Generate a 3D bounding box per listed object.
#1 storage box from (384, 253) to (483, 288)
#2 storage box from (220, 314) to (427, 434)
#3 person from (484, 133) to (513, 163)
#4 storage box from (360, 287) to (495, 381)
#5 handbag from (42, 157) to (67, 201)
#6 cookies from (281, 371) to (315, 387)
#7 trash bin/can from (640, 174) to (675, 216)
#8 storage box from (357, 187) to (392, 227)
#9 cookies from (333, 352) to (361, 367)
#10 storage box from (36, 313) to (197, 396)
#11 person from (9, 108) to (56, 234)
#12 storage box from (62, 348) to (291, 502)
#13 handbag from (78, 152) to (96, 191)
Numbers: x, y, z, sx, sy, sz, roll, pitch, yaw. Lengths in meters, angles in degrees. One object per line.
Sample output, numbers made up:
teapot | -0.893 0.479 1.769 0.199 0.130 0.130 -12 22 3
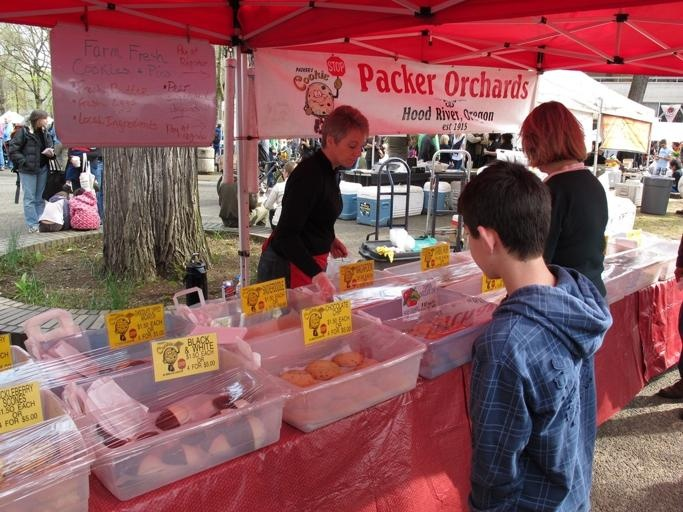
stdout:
storage box | 0.553 0.102 2.589 0.439 0.085 0.237 -11 12 -33
storage box | 0.032 0.434 1.603 0.437 0.146 0.379 -12 20 -32
person | 3.618 -2.577 10.222 0.562 0.723 2.796 0 9 18
storage box | 0.439 0.308 2.038 0.409 0.126 0.416 -12 16 -29
handbag | -4.650 -1.290 7.010 0.189 0.431 0.107 23 12 23
cookies | -0.155 0.432 1.555 0.066 0.037 0.053 11 4 19
trash bin/can | 8.126 -1.553 11.321 0.611 1.021 0.571 4 11 35
storage box | 0.586 -0.957 8.534 0.624 0.816 0.873 14 20 42
cookies | 0.026 0.399 1.716 0.062 0.031 0.060 -1 4 -38
storage box | -0.863 0.348 1.549 0.335 0.118 0.219 -8 16 -34
person | -4.889 -1.369 7.003 0.538 1.939 0.601 6 13 45
storage box | -0.457 0.419 1.273 0.454 0.148 0.352 -10 19 -36
handbag | -4.175 -1.369 7.155 0.237 0.651 0.915 -8 10 -30
